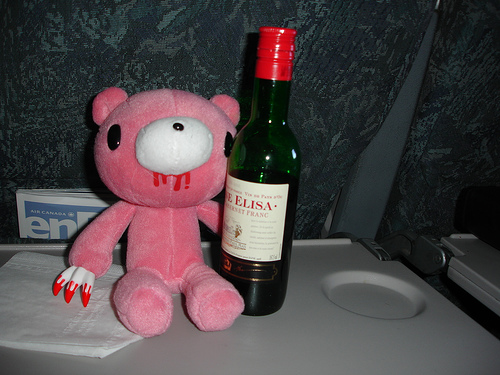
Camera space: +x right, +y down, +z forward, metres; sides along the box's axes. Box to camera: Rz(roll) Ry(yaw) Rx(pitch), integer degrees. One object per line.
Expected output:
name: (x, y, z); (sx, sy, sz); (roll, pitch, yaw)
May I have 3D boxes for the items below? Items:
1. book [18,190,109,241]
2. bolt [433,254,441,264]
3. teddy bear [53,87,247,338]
book: (-0.430, 0.064, 0.945); (0.196, 0.118, 0.020); (2, 8, -7)
bolt: (0.415, 0.158, 0.905); (0.005, 0.023, 0.023); (5, -5, -21)
teddy bear: (-0.162, 0.030, 0.702); (0.335, 0.357, 0.277); (4, 26, -5)
